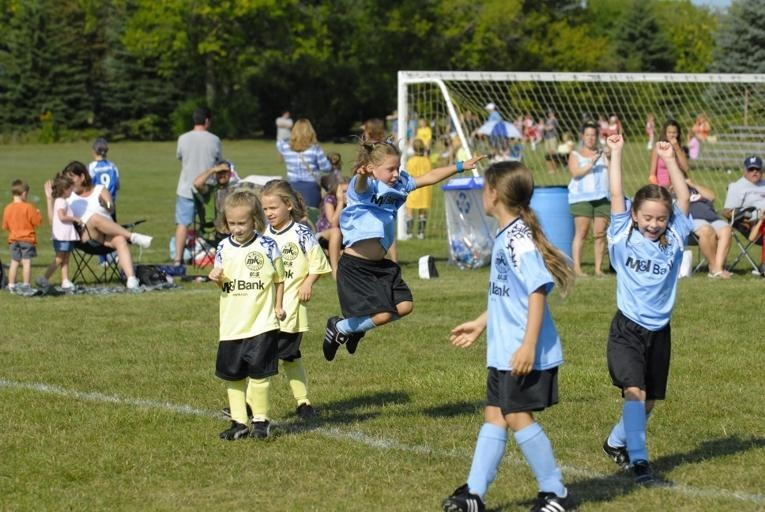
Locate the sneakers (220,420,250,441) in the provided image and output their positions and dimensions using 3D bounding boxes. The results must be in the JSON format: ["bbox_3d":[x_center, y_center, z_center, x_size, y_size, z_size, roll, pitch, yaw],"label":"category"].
[{"bbox_3d":[-1.840,2.199,14.768,0.416,0.228,0.183,1,-2,-6],"label":"sneakers"}]

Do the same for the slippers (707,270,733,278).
[{"bbox_3d":[5.705,0.313,19.555,0.369,0.112,0.146,2,40,6],"label":"slippers"}]

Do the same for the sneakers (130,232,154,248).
[{"bbox_3d":[-4.093,-0.261,19.724,0.381,0.270,0.179,12,0,-3],"label":"sneakers"}]

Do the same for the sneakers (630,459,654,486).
[{"bbox_3d":[3.187,2.565,14.070,0.327,0.290,0.192,-6,4,-43],"label":"sneakers"}]

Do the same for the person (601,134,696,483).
[{"bbox_3d":[3.247,0.584,14.273,1.145,4.126,0.571,-5,3,-27],"label":"person"}]

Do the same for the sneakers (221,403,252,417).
[{"bbox_3d":[-1.819,1.994,15.068,0.465,0.209,0.163,4,-1,7],"label":"sneakers"}]

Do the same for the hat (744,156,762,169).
[{"bbox_3d":[6.331,-1.562,19.852,0.210,0.233,0.384,-1,4,44],"label":"hat"}]

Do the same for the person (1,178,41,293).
[{"bbox_3d":[-5.956,-0.326,19.306,0.598,1.300,1.273,-4,3,-17],"label":"person"}]

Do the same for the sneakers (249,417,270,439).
[{"bbox_3d":[-1.535,2.155,14.689,0.190,0.176,0.403,0,-10,-2],"label":"sneakers"}]

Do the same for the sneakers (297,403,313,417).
[{"bbox_3d":[-0.988,1.987,15.082,0.192,0.197,0.140,0,2,1],"label":"sneakers"}]

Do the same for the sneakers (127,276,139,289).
[{"bbox_3d":[-4.105,0.437,19.176,0.132,0.229,0.225,-2,-9,14],"label":"sneakers"}]

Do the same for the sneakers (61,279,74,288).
[{"bbox_3d":[-5.159,0.486,19.144,0.188,0.128,0.093,11,38,-42],"label":"sneakers"}]

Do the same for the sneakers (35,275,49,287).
[{"bbox_3d":[-5.547,0.421,18.910,0.299,0.211,0.108,5,-2,23],"label":"sneakers"}]

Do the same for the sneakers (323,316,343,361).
[{"bbox_3d":[-0.646,1.098,15.396,0.242,0.637,0.213,11,11,27],"label":"sneakers"}]

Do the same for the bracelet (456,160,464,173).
[{"bbox_3d":[1.038,-1.160,15.294,0.110,0.082,0.144,-13,31,-8],"label":"bracelet"}]

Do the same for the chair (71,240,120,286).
[{"bbox_3d":[-4.911,0.132,20.023,0.595,0.861,0.611,5,-13,-45],"label":"chair"}]

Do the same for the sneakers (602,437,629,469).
[{"bbox_3d":[2.897,2.417,14.285,0.154,0.206,0.446,-14,39,-44],"label":"sneakers"}]
